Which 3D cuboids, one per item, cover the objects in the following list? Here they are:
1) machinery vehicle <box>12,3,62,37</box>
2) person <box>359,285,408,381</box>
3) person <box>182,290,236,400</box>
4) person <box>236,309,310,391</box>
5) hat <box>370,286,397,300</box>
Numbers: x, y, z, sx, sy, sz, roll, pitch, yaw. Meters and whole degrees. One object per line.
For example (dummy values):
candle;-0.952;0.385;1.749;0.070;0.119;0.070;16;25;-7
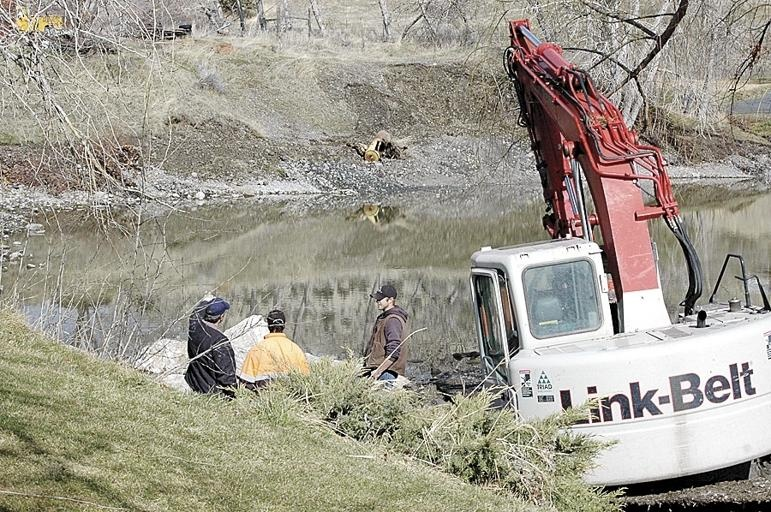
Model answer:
machinery vehicle;-4.935;-3.290;15.889;0.684;0.375;2.351;-3;1;-17
person;-0.007;1.388;19.184;0.597;2.012;0.805;11;-25;-10
person;-2.634;1.386;16.730;0.945;1.069;0.691;-1;2;44
person;-1.733;1.421;17.182;1.129;1.107;0.635;-2;7;-42
hat;-0.010;0.634;18.570;0.375;0.201;0.266;-3;3;2
